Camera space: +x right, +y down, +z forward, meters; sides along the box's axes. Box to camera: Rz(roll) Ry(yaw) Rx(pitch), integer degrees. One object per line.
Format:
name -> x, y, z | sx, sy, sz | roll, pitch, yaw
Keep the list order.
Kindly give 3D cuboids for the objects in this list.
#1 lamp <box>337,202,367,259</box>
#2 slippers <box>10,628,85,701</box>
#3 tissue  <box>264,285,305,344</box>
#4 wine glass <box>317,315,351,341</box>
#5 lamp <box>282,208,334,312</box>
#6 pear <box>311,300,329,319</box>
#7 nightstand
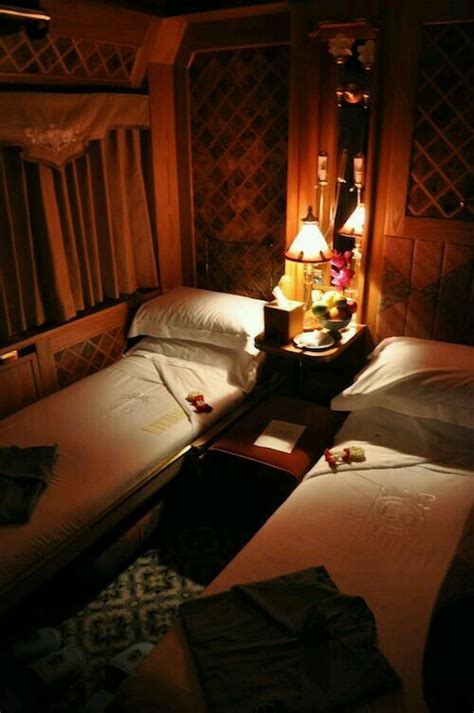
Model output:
lamp -> 0.718, -0.726, 2.967 | 0.204, 0.331, 0.204 | 9, 23, 23
slippers -> -0.672, 1.072, 1.756 | 0.156, 0.065, 0.224 | 38, 44, 21
tissue  -> 0.280, -0.234, 2.908 | 0.266, 0.320, 0.172 | 20, 46, 24
wine glass -> 0.573, -0.165, 2.873 | 0.143, 0.101, 0.139 | -4, 13, -21
lamp -> 0.425, -0.578, 2.973 | 0.289, 0.569, 0.277 | -33, 46, -32
pear -> 0.478, -0.264, 2.863 | 0.073, 0.098, 0.076 | -6, -18, 10
nightstand -> 0.444, 0.065, 3.114 | 0.523, 0.574, 0.588 | 15, 36, 28
